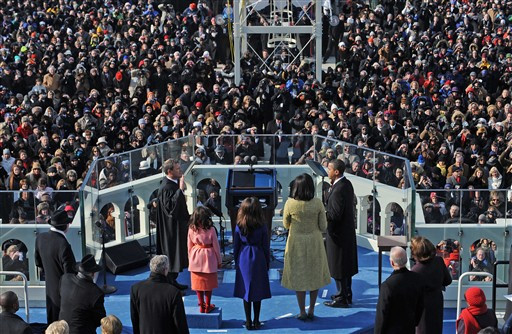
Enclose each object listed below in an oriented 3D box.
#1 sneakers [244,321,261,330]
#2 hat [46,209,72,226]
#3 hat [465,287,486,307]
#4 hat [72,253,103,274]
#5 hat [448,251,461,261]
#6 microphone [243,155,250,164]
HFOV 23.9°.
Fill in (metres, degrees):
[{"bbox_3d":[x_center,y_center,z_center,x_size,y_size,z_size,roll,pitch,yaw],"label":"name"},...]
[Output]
[{"bbox_3d":[-0.054,4.390,33.546,0.450,0.223,0.142,0,-3,-4],"label":"sneakers"},{"bbox_3d":[-5.295,1.394,32.651,0.485,0.417,0.264,0,-3,-8],"label":"hat"},{"bbox_3d":[5.779,3.354,31.732,0.408,0.401,0.533,-5,12,4],"label":"hat"},{"bbox_3d":[-4.327,2.567,31.822,0.474,0.205,0.537,18,17,35],"label":"hat"},{"bbox_3d":[5.721,2.533,34.512,0.229,0.304,0.111,0,-2,15],"label":"hat"},{"bbox_3d":[-0.251,-0.223,37.846,0.232,0.231,0.235,4,-11,3],"label":"microphone"}]
